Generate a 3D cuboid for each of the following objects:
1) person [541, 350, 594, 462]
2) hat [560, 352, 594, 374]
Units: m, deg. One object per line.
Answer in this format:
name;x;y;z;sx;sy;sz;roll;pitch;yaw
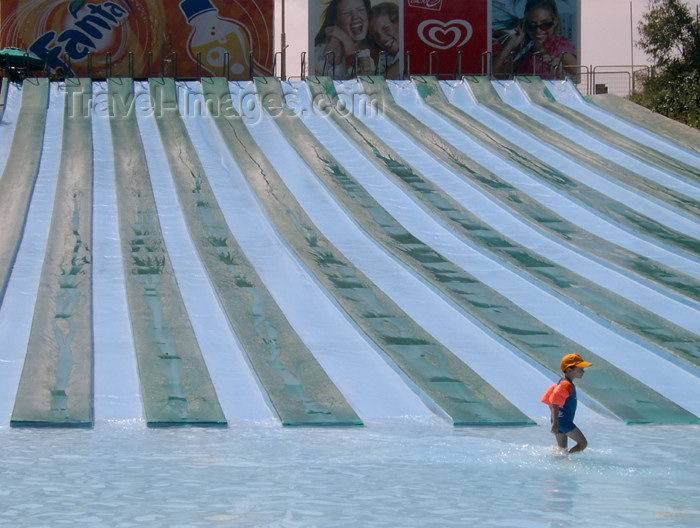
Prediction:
person;1.529;0.979;5.138;0.339;0.677;0.352;6;14;14
hat;1.559;0.698;5.205;0.323;0.104;0.172;-6;1;9
